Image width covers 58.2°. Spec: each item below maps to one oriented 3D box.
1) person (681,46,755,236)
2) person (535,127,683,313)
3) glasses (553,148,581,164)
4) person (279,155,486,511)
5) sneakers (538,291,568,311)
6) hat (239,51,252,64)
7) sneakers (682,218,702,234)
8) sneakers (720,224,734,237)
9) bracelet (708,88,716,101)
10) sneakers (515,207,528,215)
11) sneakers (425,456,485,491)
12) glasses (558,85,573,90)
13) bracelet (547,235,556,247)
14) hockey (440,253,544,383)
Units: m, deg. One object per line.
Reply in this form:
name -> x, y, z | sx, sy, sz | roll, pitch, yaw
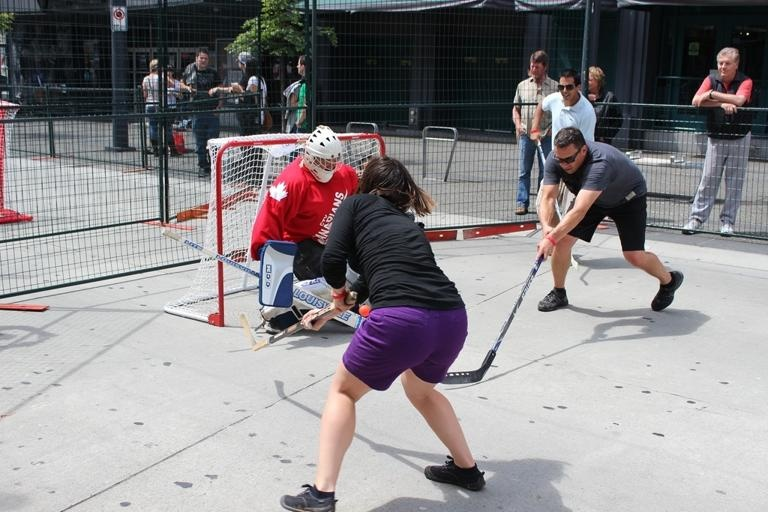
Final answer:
person -> 4.610, -1.570, 9.465 | 0.763, 2.532, 0.644 | 9, 16, 24
person -> 2.021, -0.323, 6.752 | 1.642, 1.841, 0.803 | -5, 16, -25
glasses -> 1.735, -0.919, 6.396 | 0.145, 0.043, 0.140 | -42, 20, -30
person -> 0.041, 0.483, 4.245 | 1.156, 2.103, 0.919 | 0, 14, -7
sneakers -> 1.744, 0.470, 7.022 | 0.377, 0.148, 0.143 | -4, 8, -35
hat -> -1.929, -2.790, 9.635 | 0.149, 0.158, 0.131 | 9, 15, 26
sneakers -> 4.292, -0.404, 9.605 | 0.136, 0.131, 0.318 | -1, 6, 41
sneakers -> 4.701, -0.350, 9.428 | 0.151, 0.126, 0.249 | 8, 14, 21
bracelet -> 4.439, -2.192, 9.317 | 0.090, 0.107, 0.045 | 10, 6, -19
sneakers -> 2.064, -0.679, 10.237 | 0.151, 0.113, 0.288 | -1, -2, 11
sneakers -> 0.457, 1.409, 4.513 | 0.465, 0.177, 0.161 | -2, 3, 43
glasses -> 2.189, -2.060, 8.332 | 0.094, 0.064, 0.212 | -3, 14, -19
bracelet -> 1.494, -0.131, 6.064 | 0.099, 0.035, 0.070 | 24, 20, -50
hockey -> 1.010, 0.591, 6.195 | 0.269, 1.338, 0.117 | 46, 2, 26
